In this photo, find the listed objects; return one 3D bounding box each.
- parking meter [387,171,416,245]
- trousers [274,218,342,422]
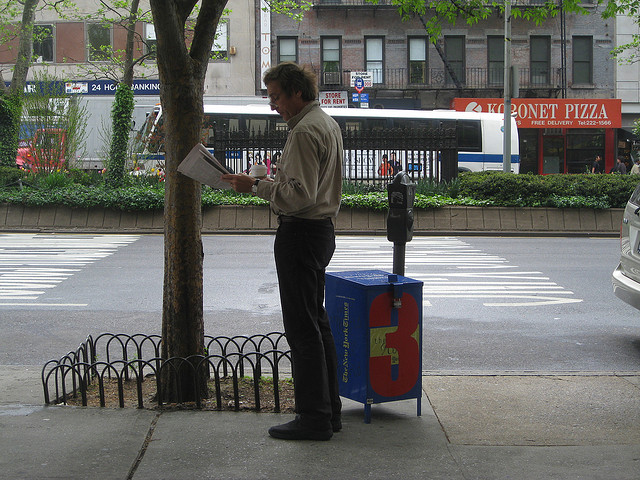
[{"bbox_3d":[0.915,-0.359,10.708,0.294,0.832,0.291,1,12,4],"label":"parking meter"},{"bbox_3d":[-0.136,0.898,10.033,0.661,2.180,0.766,1,4,15],"label":"trousers"}]
